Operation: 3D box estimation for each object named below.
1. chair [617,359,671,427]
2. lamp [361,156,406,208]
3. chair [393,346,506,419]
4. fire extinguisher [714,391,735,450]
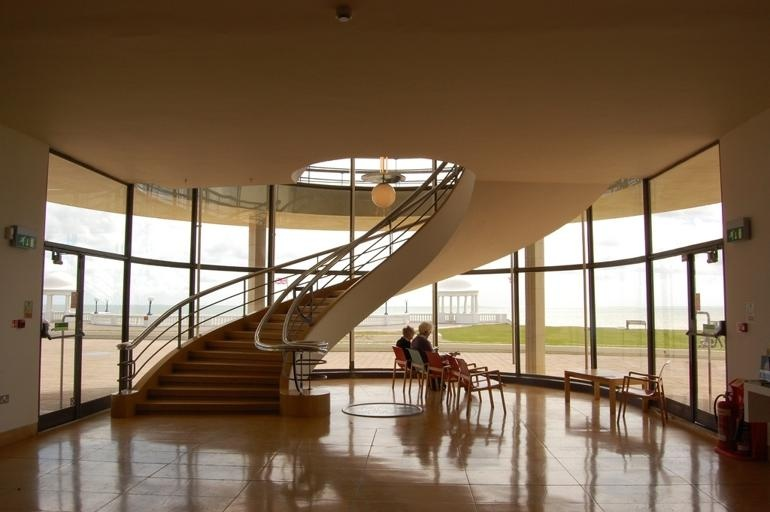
[{"bbox_3d":[4.349,2.202,9.342,0.837,0.864,0.819,0,4,-7],"label":"chair"},{"bbox_3d":[-0.037,-1.637,12.578,1.093,1.163,1.030,-1,0,-10],"label":"lamp"},{"bbox_3d":[1.259,2.294,10.596,1.766,0.893,2.771,4,-6,-12],"label":"chair"},{"bbox_3d":[4.532,2.195,7.393,0.233,0.745,0.306,0,-6,32],"label":"fire extinguisher"}]
